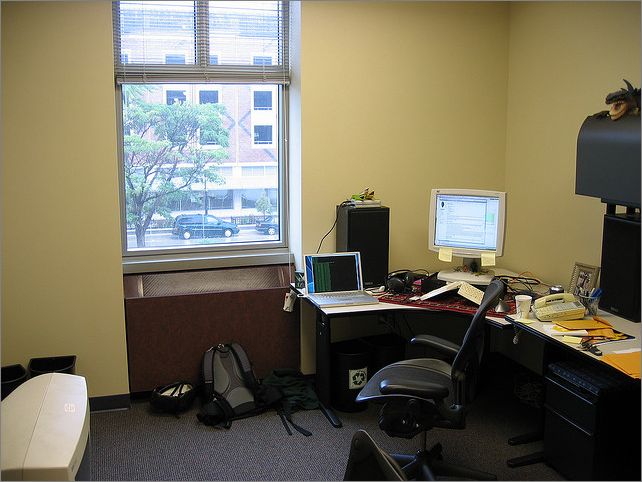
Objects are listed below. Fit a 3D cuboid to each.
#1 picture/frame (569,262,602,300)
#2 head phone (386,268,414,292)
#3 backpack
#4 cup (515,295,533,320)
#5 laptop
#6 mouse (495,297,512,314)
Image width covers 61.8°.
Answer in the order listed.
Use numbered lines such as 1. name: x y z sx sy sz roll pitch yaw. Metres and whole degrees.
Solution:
1. picture/frame: 1.694 0.256 3.421 0.026 0.255 0.187 10 3 -28
2. head phone: 0.549 0.289 3.872 0.143 0.062 0.162 -2 -14 -45
3. backpack: -0.665 1.018 3.856 0.471 0.440 0.467 -6 11 -17
4. cup: 1.238 0.402 3.273 0.115 0.135 0.120 2 2 0
5. laptop: 0.116 0.254 3.832 0.437 0.328 0.373 -3 9 -14
6. mouse: 1.162 0.399 3.437 0.095 0.099 0.084 -19 -3 24
